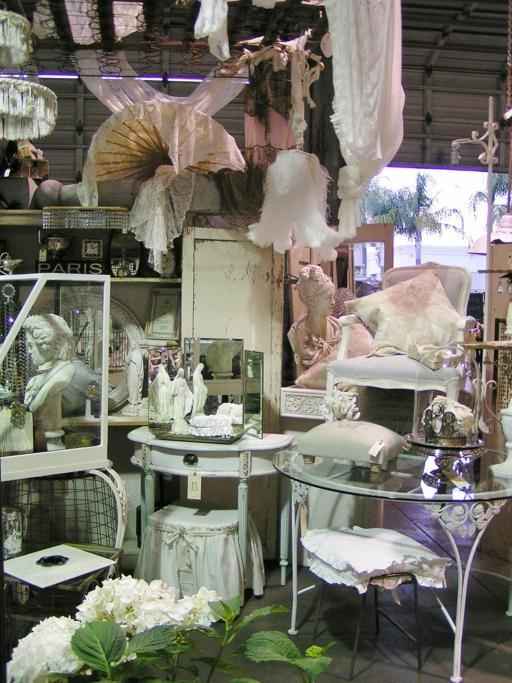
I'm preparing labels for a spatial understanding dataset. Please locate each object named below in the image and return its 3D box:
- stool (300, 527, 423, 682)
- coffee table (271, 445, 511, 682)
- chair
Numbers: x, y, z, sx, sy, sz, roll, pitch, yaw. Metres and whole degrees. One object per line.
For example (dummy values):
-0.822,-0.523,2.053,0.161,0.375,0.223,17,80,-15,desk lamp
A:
0.503,1.013,2.656,0.529,0.510,0.594,-1,2,-23,stool
0.602,0.582,2.434,0.996,0.589,0.941,0,-1,21,coffee table
0.812,0.056,3.506,0.754,1.036,0.817,2,6,25,chair
